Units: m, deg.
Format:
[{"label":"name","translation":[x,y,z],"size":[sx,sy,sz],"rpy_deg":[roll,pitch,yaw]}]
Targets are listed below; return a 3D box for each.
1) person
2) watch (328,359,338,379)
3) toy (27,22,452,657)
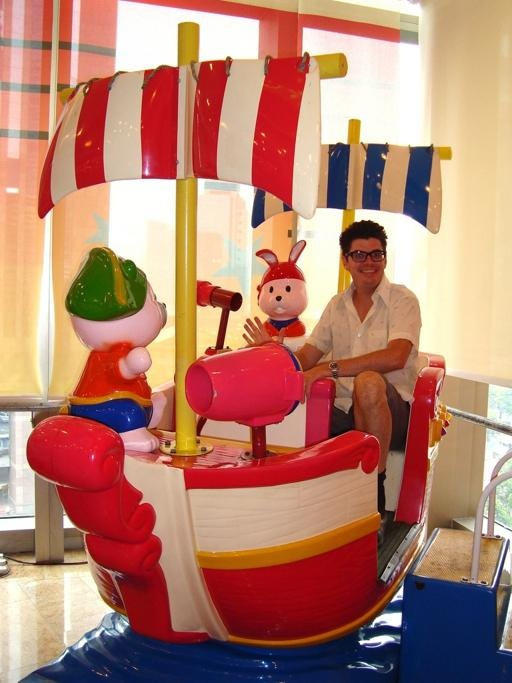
[{"label":"person","translation":[0.271,0.051,2.089],"size":[0.537,0.978,0.608],"rpy_deg":[0,-3,13]},{"label":"watch","translation":[0.230,0.085,1.832],"size":[0.027,0.047,0.045],"rpy_deg":[-1,-18,-4]},{"label":"toy","translation":[0.018,0.027,1.505],"size":[0.603,1.362,1.132],"rpy_deg":[4,5,28]}]
